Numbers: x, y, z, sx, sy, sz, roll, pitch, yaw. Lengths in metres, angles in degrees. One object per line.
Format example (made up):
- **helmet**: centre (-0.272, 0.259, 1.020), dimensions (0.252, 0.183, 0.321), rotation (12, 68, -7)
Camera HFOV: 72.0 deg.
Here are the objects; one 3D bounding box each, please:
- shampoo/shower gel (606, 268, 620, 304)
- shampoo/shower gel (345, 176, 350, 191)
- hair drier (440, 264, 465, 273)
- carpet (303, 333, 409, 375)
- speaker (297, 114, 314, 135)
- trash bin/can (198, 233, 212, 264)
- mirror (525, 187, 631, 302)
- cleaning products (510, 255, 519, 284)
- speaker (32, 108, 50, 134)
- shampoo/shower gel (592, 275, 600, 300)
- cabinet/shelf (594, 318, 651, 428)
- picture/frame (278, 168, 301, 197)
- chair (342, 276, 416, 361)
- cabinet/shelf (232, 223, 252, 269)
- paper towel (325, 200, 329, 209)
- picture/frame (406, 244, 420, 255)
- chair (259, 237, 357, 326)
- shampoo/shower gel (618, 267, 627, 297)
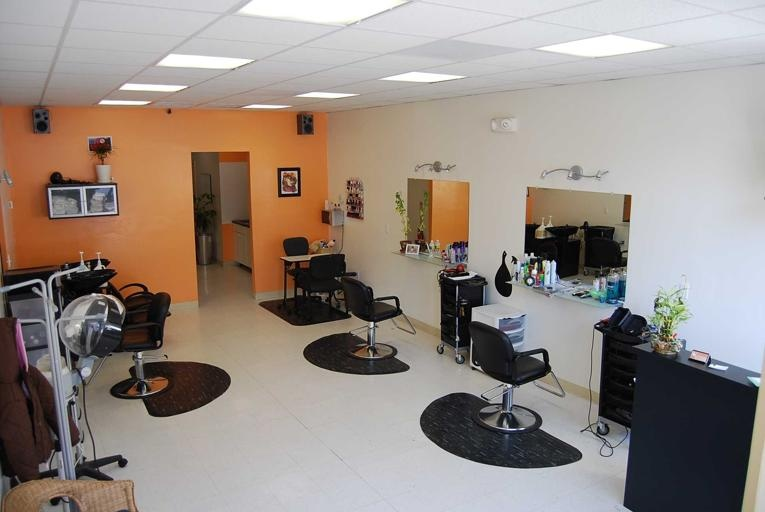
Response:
- **shampoo/shower gel**: centre (2.508, 0.326, 5.752), dimensions (0.132, 0.361, 0.090), rotation (4, 10, 26)
- **shampoo/shower gel**: centre (-0.630, -1.294, 9.414), dimensions (0.062, 0.197, 0.140), rotation (0, -6, -13)
- **hair drier**: centre (0.999, 0.181, 7.300), dimensions (0.233, 0.082, 0.164), rotation (-4, 8, -29)
- **carpet**: centre (-0.447, 1.379, 7.257), dimensions (1.059, 0.154, 1.619), rotation (-8, 11, -42)
- **speaker**: centre (-1.411, -2.363, 9.468), dimensions (0.238, 0.462, 0.339), rotation (7, 8, 44)
- **trash bin/can**: centre (-4.137, -0.156, 12.247), dimensions (0.352, 0.683, 0.246), rotation (-4, 10, -22)
- **mirror**: centre (2.265, -0.134, 5.993), dimensions (0.021, 1.230, 1.235), rotation (-13, 17, -42)
- **cleaning products**: centre (1.666, 0.160, 6.635), dimensions (0.082, 0.293, 0.231), rotation (0, 9, 5)
- **speaker**: centre (-4.996, -1.974, 7.700), dimensions (0.246, 0.369, 0.207), rotation (-6, 11, -32)
- **shampoo/shower gel**: centre (2.376, 0.359, 5.900), dimensions (0.078, 0.234, 0.174), rotation (0, 9, 1)
- **cabinet/shelf**: centre (2.417, 1.151, 5.394), dimensions (0.477, 1.111, 0.376), rotation (4, 10, 26)
- **picture/frame**: centre (-1.727, -1.353, 9.601), dimensions (0.505, 0.571, 0.040), rotation (-4, 14, -31)
- **chair**: centre (-0.073, 0.799, 7.711), dimensions (1.179, 1.317, 0.927), rotation (-5, 11, -33)
- **cabinet/shelf**: centre (-3.097, -0.255, 11.595), dimensions (0.425, 0.862, 0.923), rotation (-3, 7, -31)
- **paper towel**: centre (-1.041, -0.954, 9.840), dimensions (0.082, 0.160, 0.206), rotation (-2, 9, -11)
- **picture/frame**: centre (0.456, -0.097, 8.024), dimensions (0.144, 0.119, 0.014), rotation (11, -2, 19)
- **chair**: centre (-1.304, 0.489, 9.099), dimensions (1.593, 0.959, 1.506), rotation (-3, 6, -33)
- **shampoo/shower gel**: centre (2.597, 0.295, 5.702), dimensions (0.036, 0.348, 0.098), rotation (-4, 10, -20)
